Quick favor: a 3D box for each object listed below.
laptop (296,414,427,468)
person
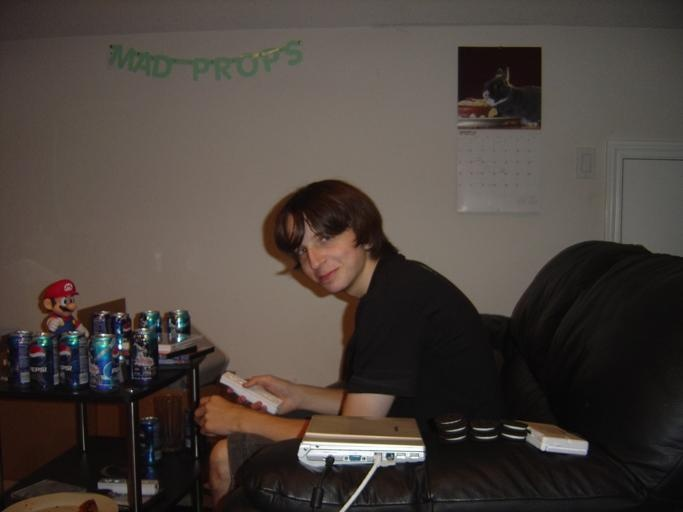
[{"bbox_3d":[0.058,0.557,1.702,0.369,0.131,0.119,1,3,5],"label":"laptop"},{"bbox_3d":[-0.016,0.518,2.077,1.073,1.528,0.764,0,-5,-5],"label":"person"}]
